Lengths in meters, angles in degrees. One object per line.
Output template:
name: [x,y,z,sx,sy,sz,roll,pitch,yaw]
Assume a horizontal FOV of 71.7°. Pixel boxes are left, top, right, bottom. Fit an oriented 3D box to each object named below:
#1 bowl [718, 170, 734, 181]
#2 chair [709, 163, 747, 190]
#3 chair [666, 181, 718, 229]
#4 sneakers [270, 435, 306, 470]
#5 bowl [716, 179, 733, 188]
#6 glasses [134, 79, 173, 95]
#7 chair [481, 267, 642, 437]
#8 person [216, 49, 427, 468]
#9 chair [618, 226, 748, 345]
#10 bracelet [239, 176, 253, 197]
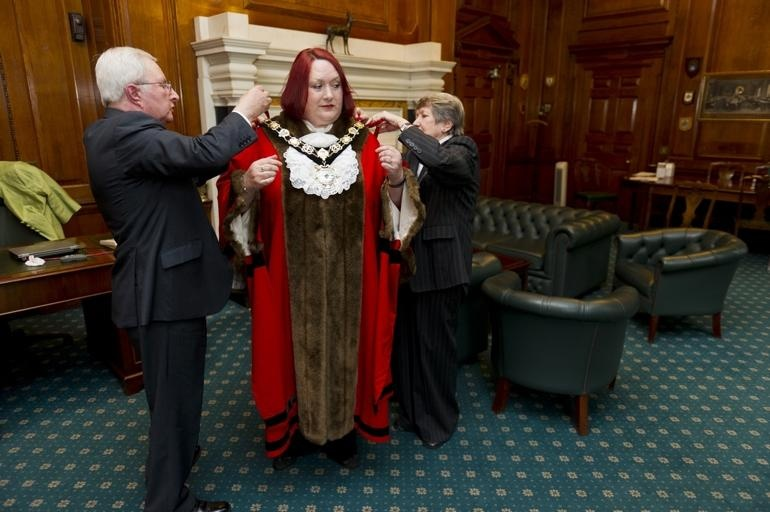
bowl: [4.650,-1.080,7.214,0.039,0.158,0.146,7,0,-27]
chair: [4.695,-1.088,7.269,0.386,0.325,0.401,5,31,34]
chair: [4.214,-0.855,7.298,0.566,0.803,0.807,10,24,23]
sneakers: [-0.599,1.284,3.524,0.109,0.145,0.339,2,5,24]
bowl: [4.532,-0.967,7.102,0.167,0.082,0.368,14,26,29]
glasses: [-1.247,-0.917,2.887,0.061,0.083,0.201,18,28,38]
chair: [1.318,0.529,4.027,1.055,1.086,1.037,7,17,32]
person: [-0.355,0.053,3.173,1.107,2.482,0.910,-1,9,-12]
chair: [2.765,0.203,5.106,0.887,0.868,0.864,-2,21,-7]
bracelet: [-0.765,-0.383,2.935,0.061,0.093,0.087,-14,-8,-3]
